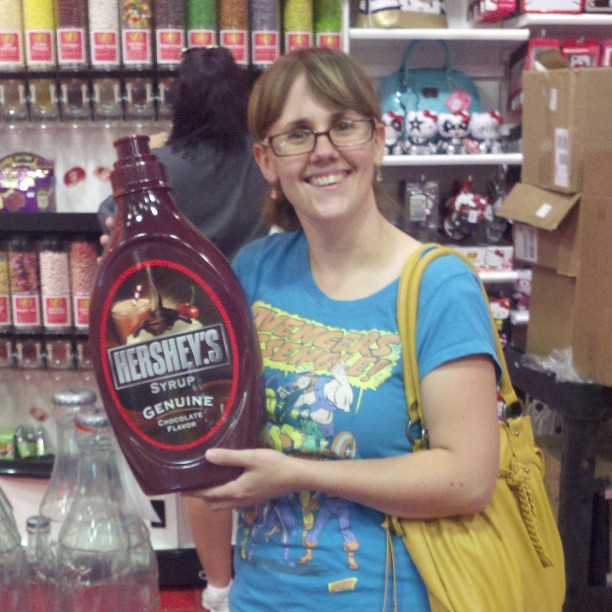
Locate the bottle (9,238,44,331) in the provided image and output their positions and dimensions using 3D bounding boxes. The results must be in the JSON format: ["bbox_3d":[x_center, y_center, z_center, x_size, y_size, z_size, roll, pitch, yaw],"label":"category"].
[{"bbox_3d":[-1.022,-0.077,2.286,0.119,0.333,0.047,-3,5,1],"label":"bottle"}]

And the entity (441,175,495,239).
[{"bbox_3d":[0.740,-0.457,2.860,0.204,0.282,0.125,6,15,-1],"label":"entity"}]

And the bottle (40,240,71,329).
[{"bbox_3d":[-0.908,-0.088,2.306,0.107,0.385,0.089,-3,23,-24],"label":"bottle"}]

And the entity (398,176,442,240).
[{"bbox_3d":[0.535,-0.466,2.907,0.153,0.278,0.150,-2,20,11],"label":"entity"}]

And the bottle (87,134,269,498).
[{"bbox_3d":[-0.210,0.012,0.997,0.247,0.556,0.087,-3,5,3],"label":"bottle"}]
